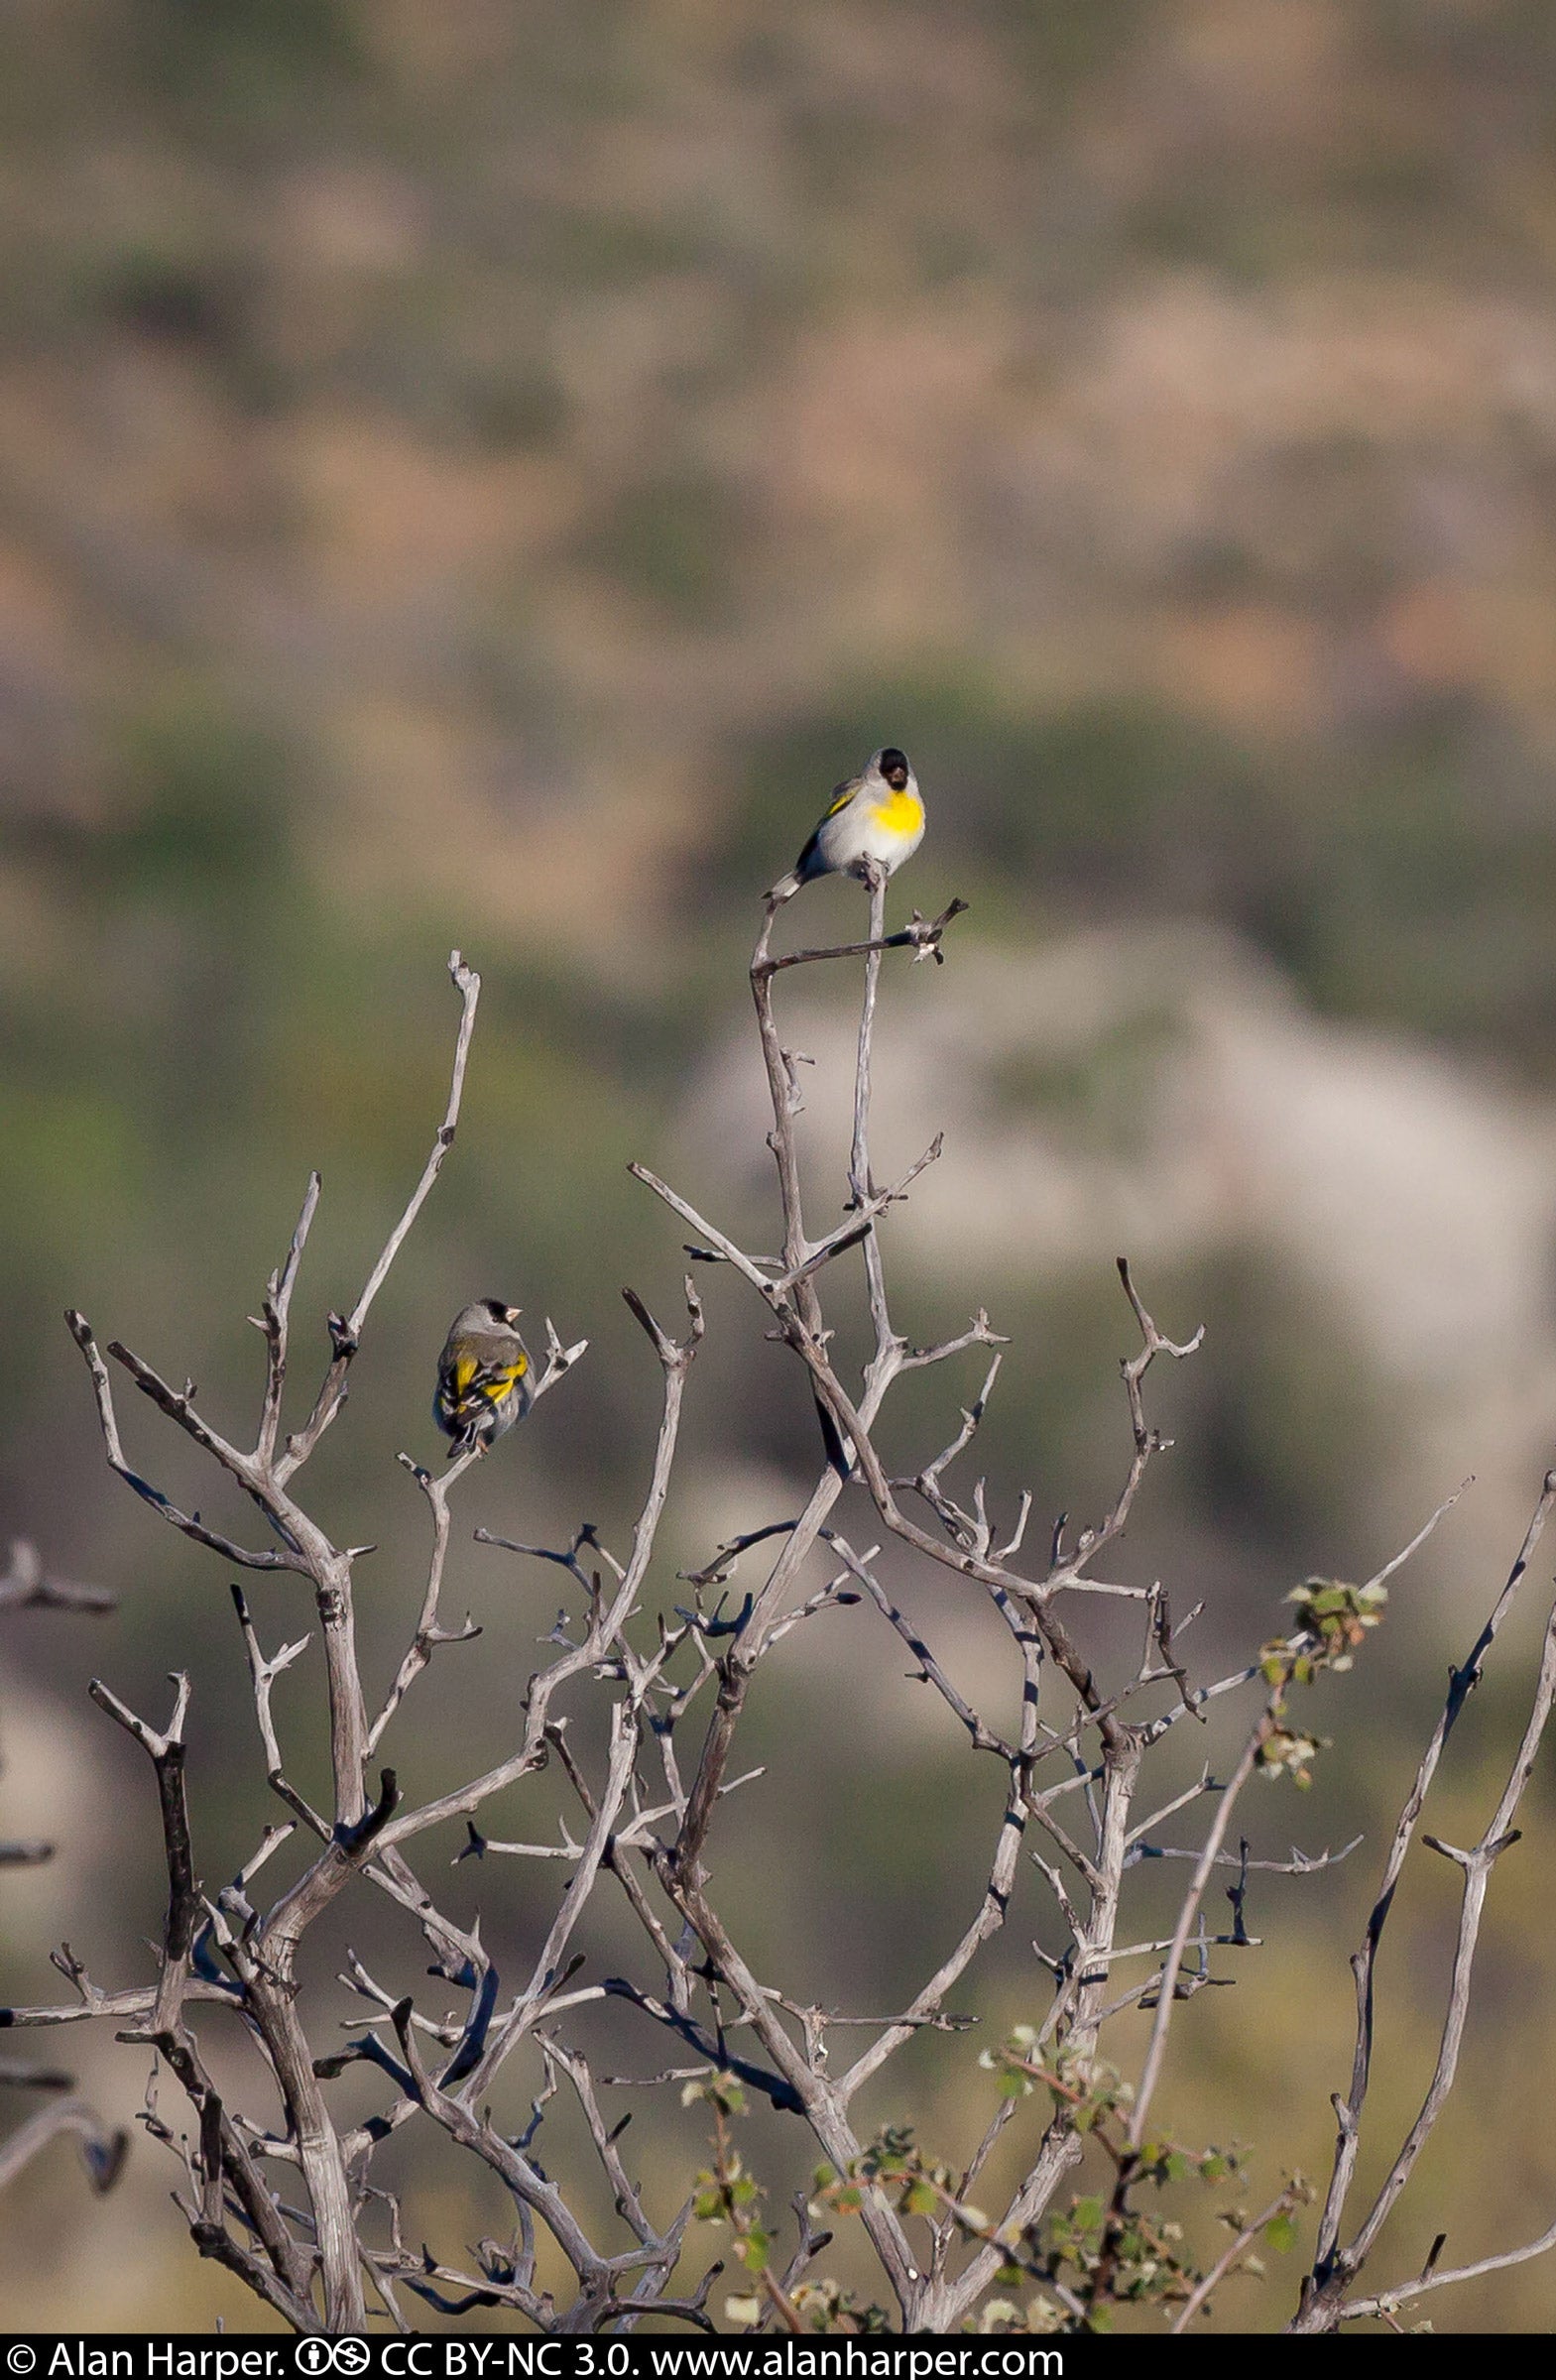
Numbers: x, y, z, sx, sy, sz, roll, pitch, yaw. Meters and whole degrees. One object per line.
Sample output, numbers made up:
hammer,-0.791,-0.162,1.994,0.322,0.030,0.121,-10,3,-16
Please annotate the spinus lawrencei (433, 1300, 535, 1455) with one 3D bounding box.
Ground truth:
spinus lawrencei,-1.168,0.771,14.718,0.302,0.358,0.837,-2,33,20

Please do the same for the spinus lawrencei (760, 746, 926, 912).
spinus lawrencei,0.333,-1.601,15.374,0.430,0.588,0.717,3,7,-34
